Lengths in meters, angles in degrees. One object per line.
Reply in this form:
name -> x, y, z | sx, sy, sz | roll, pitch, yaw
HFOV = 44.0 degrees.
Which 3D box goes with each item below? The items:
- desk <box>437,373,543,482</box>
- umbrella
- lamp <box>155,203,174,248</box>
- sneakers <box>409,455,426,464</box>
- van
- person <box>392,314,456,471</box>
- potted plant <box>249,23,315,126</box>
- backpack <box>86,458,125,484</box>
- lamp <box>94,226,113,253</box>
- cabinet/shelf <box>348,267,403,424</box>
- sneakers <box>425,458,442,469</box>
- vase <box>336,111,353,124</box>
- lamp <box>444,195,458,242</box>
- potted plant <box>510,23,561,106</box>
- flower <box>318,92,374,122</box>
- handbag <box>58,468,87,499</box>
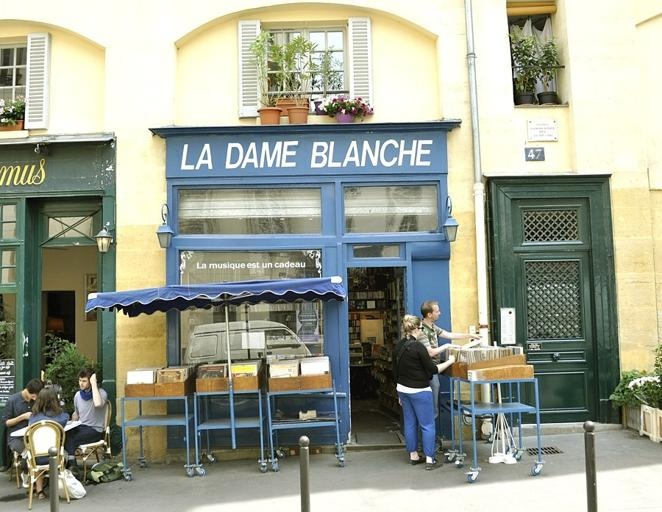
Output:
desk -> 2.407, 2.393, 12.153 | 1.330, 1.298, 1.868 | 0, -7, 0
umbrella -> -1.763, 1.715, 12.468 | 2.653, 1.924, 1.464 | -2, -11, -3
lamp -> -2.581, -0.458, 12.785 | 0.232, 0.677, 0.455 | -4, 11, -4
sneakers -> 1.250, 2.931, 11.823 | 0.237, 0.088, 0.086 | -2, 0, -24
van -> -1.303, 1.360, 13.335 | 1.960, 0.900, 0.759 | -4, -4, -5
person -> 1.291, 1.954, 11.697 | 0.693, 2.162, 0.848 | -5, 11, -6
potted plant -> -0.736, -2.873, 13.312 | 1.028, 1.445, 0.816 | -4, 11, -5
backpack -> -3.283, 3.100, 11.855 | 0.332, 0.133, 0.329 | -3, -4, 29
lamp -> -3.552, -0.257, 12.919 | 0.246, 0.436, 0.237 | -6, 11, -16
cabinet/shelf -> 0.827, 1.553, 16.683 | 0.980, 2.862, 2.531 | -3, 11, 1
sneakers -> 1.447, 2.888, 11.594 | 0.228, 0.156, 0.320 | -2, 11, 7
vase -> 0.214, -2.212, 13.144 | 0.204, 0.117, 0.198 | -1, -3, 3
lamp -> 1.892, -0.563, 12.951 | 0.230, 0.730, 0.476 | -2, 11, 9
potted plant -> 3.380, -3.186, 13.538 | 0.823, 1.388, 0.864 | -1, 11, 12
flower -> 0.221, -2.349, 13.163 | 0.599, 0.306, 0.563 | 2, 8, 5
handbag -> -3.524, 3.097, 11.162 | 0.354, 0.382, 0.294 | -3, 11, 0
